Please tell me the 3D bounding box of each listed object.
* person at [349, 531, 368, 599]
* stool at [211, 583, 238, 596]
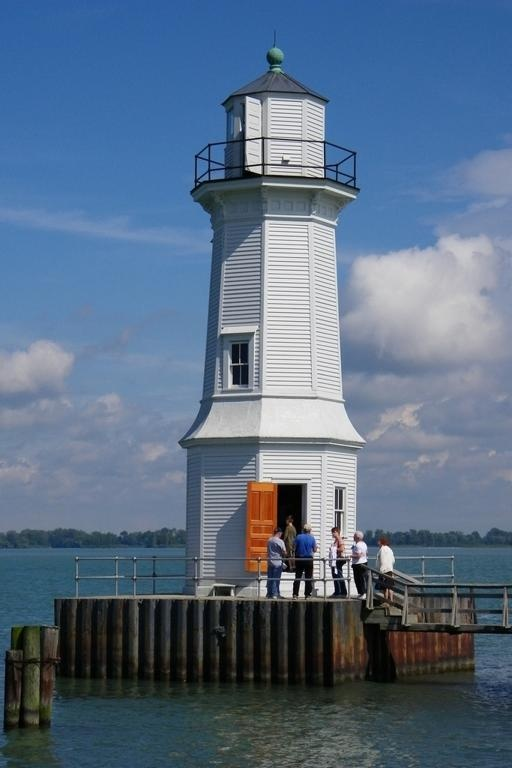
[{"bbox_3d":[2.161,3.800,30.622,0.325,1.307,0.972,2,-4,5],"label":"person"},{"bbox_3d":[-0.701,4.628,32.693,0.491,0.237,0.706,2,-5,5],"label":"stool"}]
